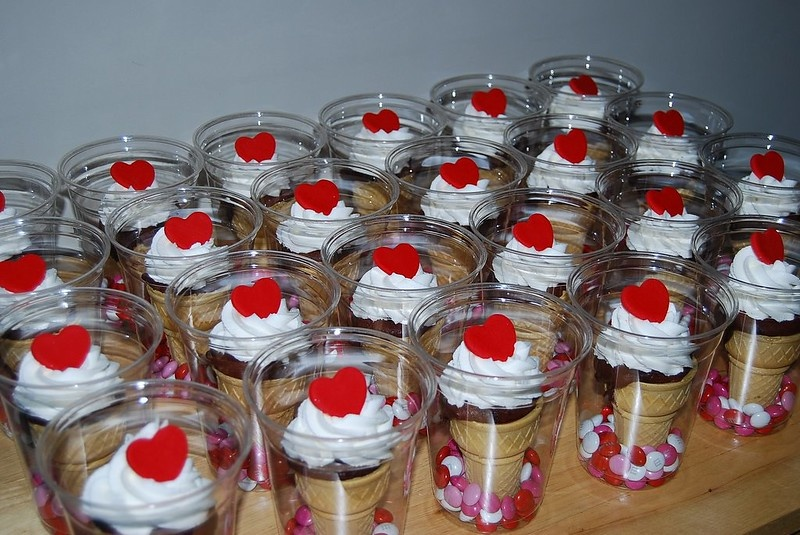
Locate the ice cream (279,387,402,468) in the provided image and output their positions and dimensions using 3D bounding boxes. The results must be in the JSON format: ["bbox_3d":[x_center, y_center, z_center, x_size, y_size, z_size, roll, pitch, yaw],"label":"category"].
[{"bbox_3d":[-0.138,0.376,1.512,0.258,0.144,0.227,-2,7,-6],"label":"ice cream"}]

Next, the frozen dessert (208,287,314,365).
[{"bbox_3d":[-0.356,0.133,1.663,0.233,0.198,0.209,-3,7,-10],"label":"frozen dessert"}]

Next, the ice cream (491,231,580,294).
[{"bbox_3d":[0.367,-0.020,1.862,0.164,0.055,0.148,-5,28,-13],"label":"ice cream"}]

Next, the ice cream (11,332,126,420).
[{"bbox_3d":[-0.797,0.246,1.580,0.248,0.216,0.079,16,-16,-12],"label":"ice cream"}]

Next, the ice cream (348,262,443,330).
[{"bbox_3d":[-0.023,0.080,1.779,0.232,0.147,0.185,-1,7,0],"label":"ice cream"}]

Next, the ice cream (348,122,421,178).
[{"bbox_3d":[-0.074,-0.404,2.277,0.183,0.064,0.189,-3,36,-10],"label":"ice cream"}]

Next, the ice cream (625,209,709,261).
[{"bbox_3d":[0.784,-0.102,1.994,0.164,0.081,0.157,-24,40,-26],"label":"ice cream"}]
